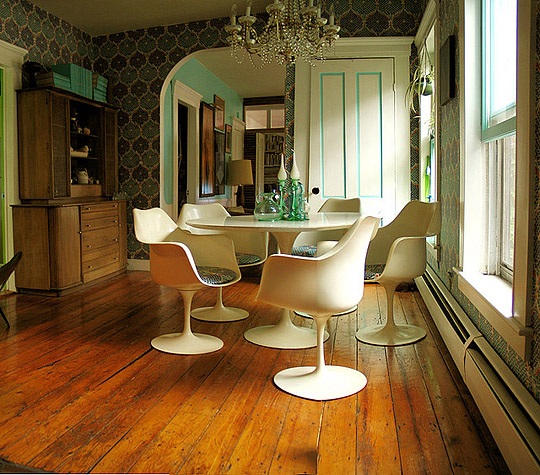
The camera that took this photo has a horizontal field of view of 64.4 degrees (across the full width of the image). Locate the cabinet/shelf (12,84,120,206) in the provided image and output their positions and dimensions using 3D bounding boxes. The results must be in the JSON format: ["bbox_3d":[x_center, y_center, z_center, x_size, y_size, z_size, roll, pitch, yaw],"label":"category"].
[{"bbox_3d":[-2.247,-0.995,4.636,0.489,1.467,1.373,1,2,11],"label":"cabinet/shelf"}]

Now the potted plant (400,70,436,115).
[{"bbox_3d":[1.510,-1.529,4.370,0.323,0.395,0.266,-3,-9,-1],"label":"potted plant"}]

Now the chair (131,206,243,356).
[{"bbox_3d":[-0.461,0.234,3.559,0.617,0.861,0.534,-17,21,-36],"label":"chair"}]

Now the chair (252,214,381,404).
[{"bbox_3d":[0.245,0.340,2.253,0.576,0.936,0.496,1,6,9],"label":"chair"}]
